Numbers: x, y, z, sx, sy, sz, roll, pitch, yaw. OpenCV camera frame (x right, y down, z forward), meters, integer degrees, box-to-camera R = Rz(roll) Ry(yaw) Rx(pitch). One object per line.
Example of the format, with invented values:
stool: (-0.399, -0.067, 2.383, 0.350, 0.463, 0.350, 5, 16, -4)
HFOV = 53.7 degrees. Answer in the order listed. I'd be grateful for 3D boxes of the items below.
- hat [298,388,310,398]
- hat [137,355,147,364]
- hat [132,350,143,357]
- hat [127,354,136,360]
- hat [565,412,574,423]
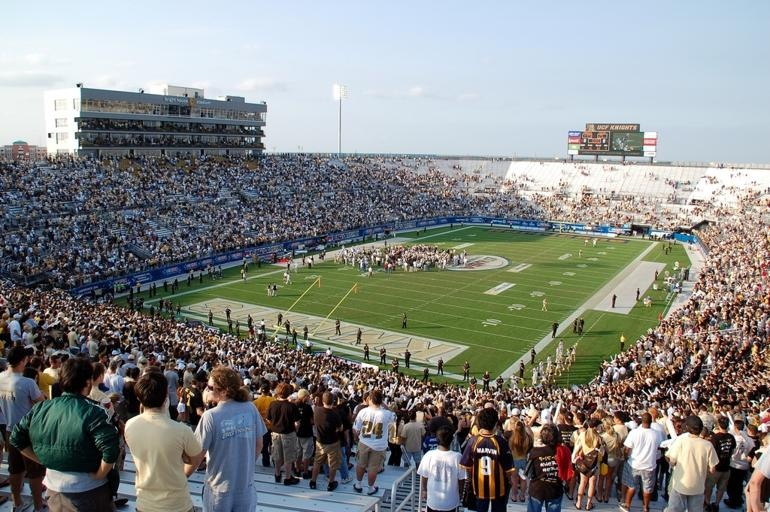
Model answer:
hat: (-1.769, 2.940, 16.368, 0.193, 0.188, 0.357, -1, 2, -5)
hat: (-6.375, 2.762, 20.094, 0.227, 0.168, 0.231, 8, 16, 33)
hat: (-7.148, 2.792, 21.898, 0.265, 0.136, 0.370, 2, 12, -32)
hat: (-6.752, 2.717, 20.252, 0.198, 0.099, 0.297, 3, 1, -17)
hat: (4.110, 3.621, 17.071, 0.228, 0.287, 0.188, 0, 35, 6)
